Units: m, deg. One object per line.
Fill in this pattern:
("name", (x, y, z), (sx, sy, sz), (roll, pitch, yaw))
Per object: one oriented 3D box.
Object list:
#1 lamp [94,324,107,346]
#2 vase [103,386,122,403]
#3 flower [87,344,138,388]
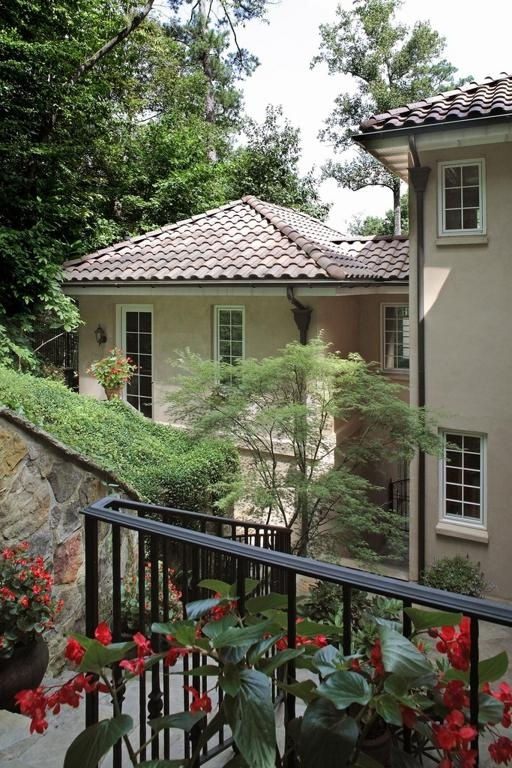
("lamp", (-3.422, -1.055, 14.037), (0.201, 0.441, 0.370), (-1, 1, -42))
("vase", (-2.767, 0.204, 12.403), (0.451, 0.340, 0.450), (-1, -7, 0))
("flower", (-2.765, -0.290, 12.532), (0.793, 0.781, 0.524), (0, 0, 7))
